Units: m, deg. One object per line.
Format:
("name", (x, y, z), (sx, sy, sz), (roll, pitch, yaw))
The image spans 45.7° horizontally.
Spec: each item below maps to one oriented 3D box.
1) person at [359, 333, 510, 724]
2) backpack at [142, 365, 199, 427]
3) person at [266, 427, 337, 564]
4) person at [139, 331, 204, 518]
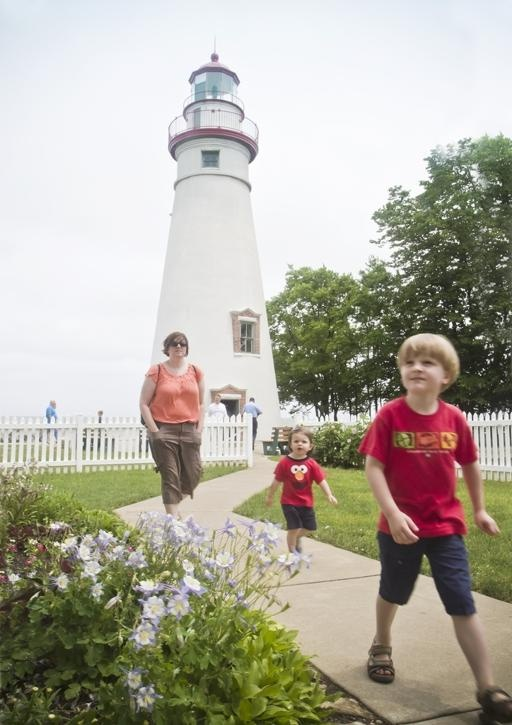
("person", (0.712, 0.598, 2.500), (0.519, 1.465, 0.451), (-5, -9, 15))
("backpack", (-0.725, 0.267, 5.574), (0.562, 0.539, 0.311), (1, -8, -21))
("person", (0.360, 1.026, 4.806), (0.526, 1.011, 0.750), (-3, -8, 3))
("person", (-0.724, 0.530, 5.430), (0.607, 1.590, 0.365), (1, -9, -20))
